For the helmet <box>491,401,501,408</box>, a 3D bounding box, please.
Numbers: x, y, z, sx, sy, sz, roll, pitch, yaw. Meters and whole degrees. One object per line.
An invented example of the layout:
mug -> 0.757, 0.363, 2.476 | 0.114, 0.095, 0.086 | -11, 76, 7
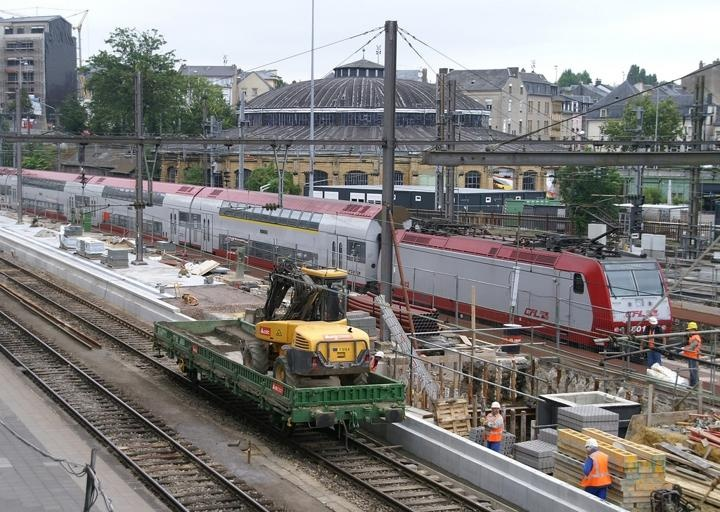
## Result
helmet -> 4.065, 4.562, 33.148 | 0.322, 0.189, 0.413 | -2, -8, 10

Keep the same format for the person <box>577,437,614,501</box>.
person -> 6.467, 5.945, 30.062 | 0.724, 1.713, 0.792 | 4, 5, 37

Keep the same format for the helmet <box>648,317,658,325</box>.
helmet -> 11.120, 2.474, 41.738 | 0.468, 0.213, 0.607 | -1, 3, -2

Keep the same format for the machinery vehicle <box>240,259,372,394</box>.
machinery vehicle -> -2.152, 2.195, 36.607 | 2.992, 3.677, 7.819 | -5, 4, -26
